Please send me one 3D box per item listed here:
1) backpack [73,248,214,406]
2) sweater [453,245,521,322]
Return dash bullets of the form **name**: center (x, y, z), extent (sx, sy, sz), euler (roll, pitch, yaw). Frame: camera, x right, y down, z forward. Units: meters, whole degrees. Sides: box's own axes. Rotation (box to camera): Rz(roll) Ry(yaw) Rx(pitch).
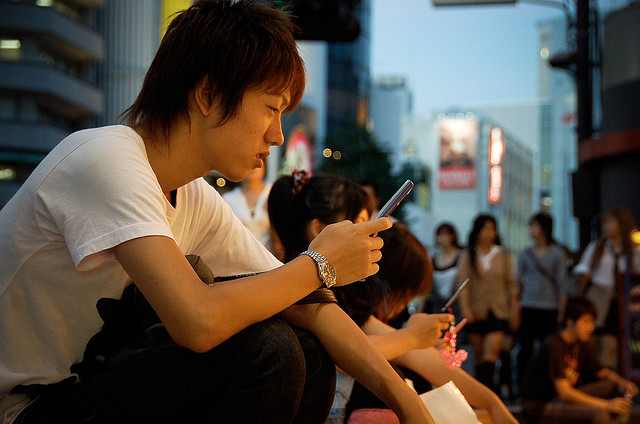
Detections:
- **backpack**: center (-0.682, 0.486, 2.593), extent (0.179, 0.565, 0.438), euler (27, -15, 25)
- **sweater**: center (1.678, 0.657, 6.580), extent (0.563, 0.703, 0.386), euler (4, 2, 18)
